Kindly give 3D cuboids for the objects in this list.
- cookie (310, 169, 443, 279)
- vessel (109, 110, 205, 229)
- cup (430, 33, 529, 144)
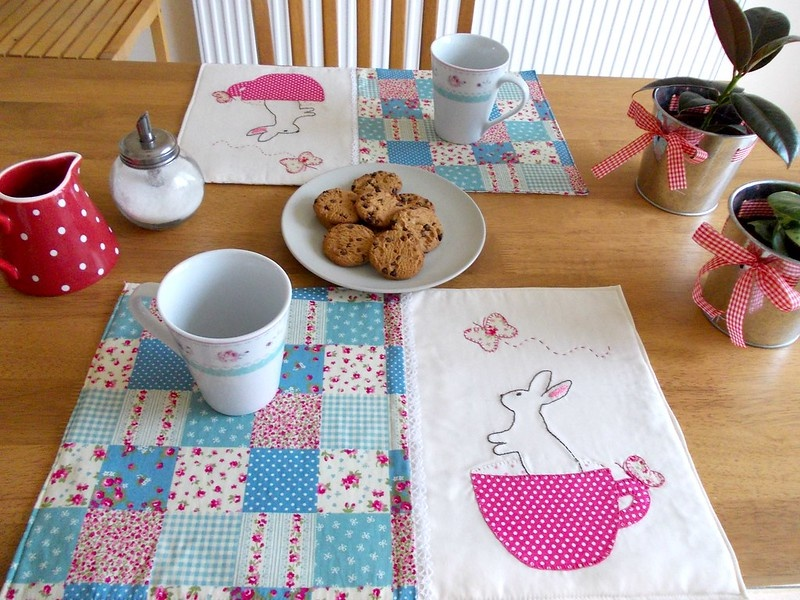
[{"bbox_3d":[-0.046,-0.114,0.972,0.177,0.034,0.158,-11,47,-25],"label":"cookie"},{"bbox_3d":[-0.355,-0.185,0.946,0.128,0.186,0.079,-16,58,-12],"label":"vessel"},{"bbox_3d":[0.150,-0.341,1.163,0.187,0.121,0.122,19,34,22],"label":"cup"}]
